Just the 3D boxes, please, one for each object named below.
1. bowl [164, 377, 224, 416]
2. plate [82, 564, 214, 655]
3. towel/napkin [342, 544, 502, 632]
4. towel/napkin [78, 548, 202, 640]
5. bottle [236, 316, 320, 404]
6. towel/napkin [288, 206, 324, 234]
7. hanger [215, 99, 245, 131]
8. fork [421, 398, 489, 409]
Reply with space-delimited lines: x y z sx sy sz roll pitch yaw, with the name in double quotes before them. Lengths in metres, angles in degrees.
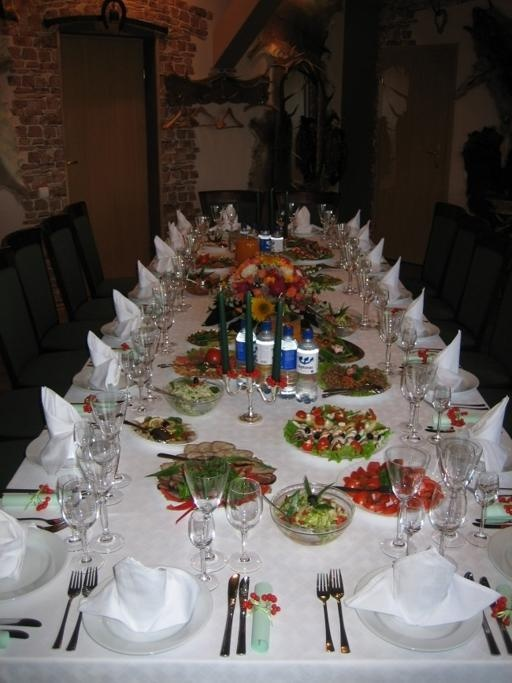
"bowl" -0.203 0.186 1.882 0.154 0.075 0.152 3 9 0
"plate" -0.184 0.502 0.932 0.227 0.025 0.120 -3 19 -18
"towel/napkin" 0.291 0.454 0.953 0.186 0.062 0.169 -9 24 -2
"towel/napkin" -0.206 0.447 0.925 0.184 0.062 0.136 10 25 6
"bottle" 0.074 0.083 1.925 0.336 0.293 0.109 4 19 13
"towel/napkin" 0.458 -1.177 4.983 0.316 0.205 0.303 3 17 7
"hanger" -0.367 -3.031 7.112 0.305 0.371 0.204 -10 14 -31
"fork" 0.788 0.233 1.954 0.135 0.018 0.082 -2 17 -4
